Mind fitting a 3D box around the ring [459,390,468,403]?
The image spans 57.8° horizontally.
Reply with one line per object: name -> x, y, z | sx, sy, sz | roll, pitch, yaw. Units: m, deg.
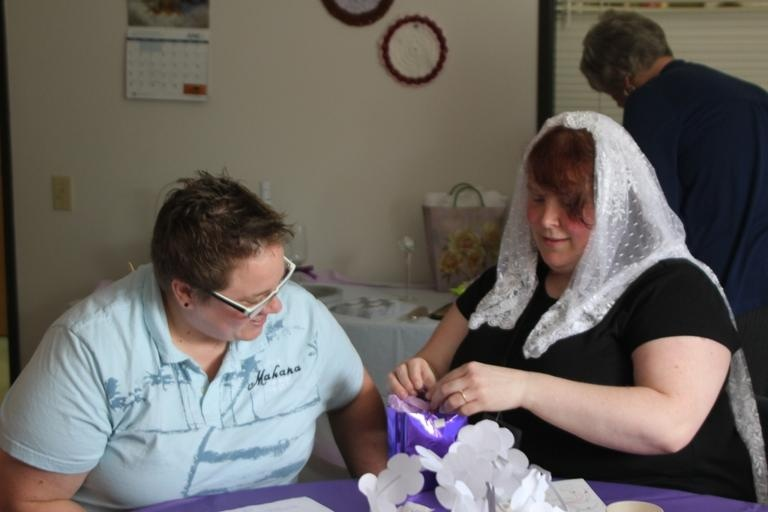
ring -> 0.207, 0.369, 1.835 | 0.006, 0.023, 0.023 | -19, 1, -11

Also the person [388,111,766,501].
person -> 0.576, 0.163, 2.004 | 1.047, 1.138, 0.592 | 0, 12, 11
